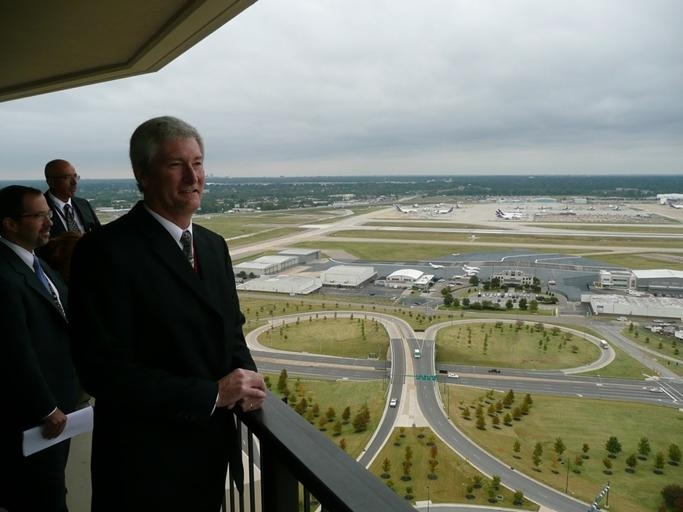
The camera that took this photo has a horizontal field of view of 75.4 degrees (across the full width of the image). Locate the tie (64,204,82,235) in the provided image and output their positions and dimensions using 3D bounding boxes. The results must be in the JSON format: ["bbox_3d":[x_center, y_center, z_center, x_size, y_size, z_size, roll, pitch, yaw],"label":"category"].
[{"bbox_3d":[-1.505,-0.204,2.454,0.026,0.062,0.252,-19,47,-20],"label":"tie"}]

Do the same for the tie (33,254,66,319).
[{"bbox_3d":[-1.308,0.139,1.969,0.048,0.338,0.050,9,43,29],"label":"tie"}]
